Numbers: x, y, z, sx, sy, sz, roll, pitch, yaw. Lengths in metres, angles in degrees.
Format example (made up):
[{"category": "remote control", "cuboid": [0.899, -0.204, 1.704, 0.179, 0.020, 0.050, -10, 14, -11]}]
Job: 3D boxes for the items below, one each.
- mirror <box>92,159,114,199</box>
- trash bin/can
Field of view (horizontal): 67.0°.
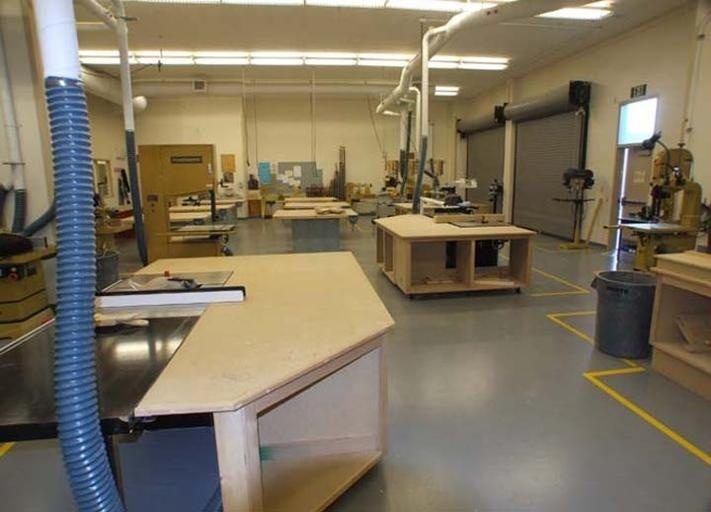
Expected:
[{"category": "mirror", "cuboid": [-5.064, -1.551, 11.031, 0.785, 0.755, 0.288, 4, 10, 43]}, {"category": "trash bin/can", "cuboid": [2.344, 0.527, 4.711, 0.568, 0.699, 0.425, 6, 3, 38]}]
